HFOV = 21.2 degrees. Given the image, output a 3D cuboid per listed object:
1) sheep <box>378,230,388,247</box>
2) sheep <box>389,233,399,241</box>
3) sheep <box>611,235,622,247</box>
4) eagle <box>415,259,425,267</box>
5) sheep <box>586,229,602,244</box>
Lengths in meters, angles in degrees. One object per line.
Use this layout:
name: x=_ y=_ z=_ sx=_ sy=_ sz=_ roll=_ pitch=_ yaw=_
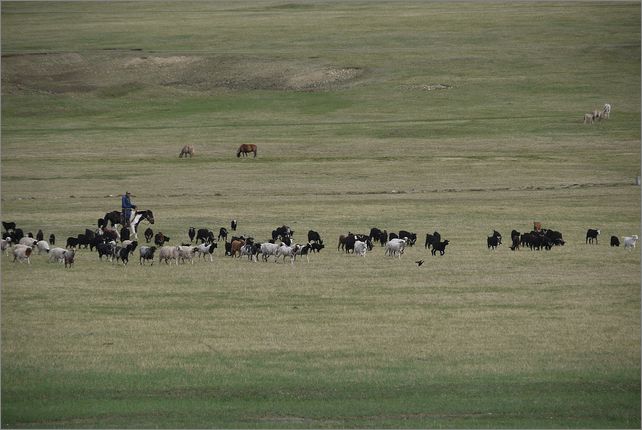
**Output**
sheep: x=9.463 y=4.032 z=262.663 sx=1.171 sy=2.344 sz=1.528 roll=1 pitch=-10 yaw=2
sheep: x=10.896 y=3.793 z=262.126 sx=1.342 sy=1.242 sz=1.739 roll=1 pitch=-9 yaw=1
sheep: x=44.957 y=4.620 z=262.161 sx=1.529 sy=1.732 sz=0.793 roll=3 pitch=-11 yaw=-9
eagle: x=14.588 y=7.748 z=257.875 sx=1.001 sy=0.330 sz=0.868 roll=14 pitch=-21 yaw=12
sheep: x=41.662 y=3.833 z=262.788 sx=2.301 sy=2.343 sz=1.480 roll=3 pitch=-10 yaw=-12
